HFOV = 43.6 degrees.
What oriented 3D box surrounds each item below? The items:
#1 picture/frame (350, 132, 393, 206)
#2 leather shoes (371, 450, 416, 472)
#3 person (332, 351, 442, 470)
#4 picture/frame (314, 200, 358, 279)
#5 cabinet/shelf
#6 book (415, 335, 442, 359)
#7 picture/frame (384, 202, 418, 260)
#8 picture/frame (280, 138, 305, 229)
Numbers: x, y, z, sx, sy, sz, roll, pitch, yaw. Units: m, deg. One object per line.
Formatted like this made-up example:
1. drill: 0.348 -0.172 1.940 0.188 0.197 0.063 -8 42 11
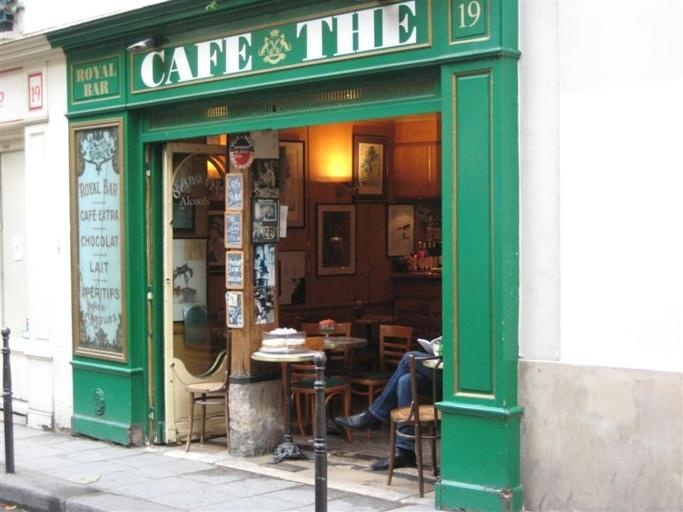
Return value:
1. picture/frame: 0.468 -1.335 12.949 0.109 0.988 0.795 -2 -1 43
2. leather shoes: 0.463 1.944 8.198 0.490 0.277 0.183 2 -4 -4
3. person: 0.559 1.470 8.319 0.787 1.158 1.470 -1 -1 -11
4. picture/frame: -0.107 -0.228 12.386 0.125 1.700 1.059 -3 -3 42
5. cabinet/shelf: 1.199 -1.482 13.076 0.400 0.842 0.832 -1 -1 -43
6. book: 0.807 0.823 7.783 0.157 0.120 0.400 -2 -1 -4
7. picture/frame: 0.924 -0.375 13.199 0.452 0.849 0.023 1 -13 -4
8. picture/frame: -0.689 -1.011 11.843 0.199 1.201 0.574 -2 -1 22
